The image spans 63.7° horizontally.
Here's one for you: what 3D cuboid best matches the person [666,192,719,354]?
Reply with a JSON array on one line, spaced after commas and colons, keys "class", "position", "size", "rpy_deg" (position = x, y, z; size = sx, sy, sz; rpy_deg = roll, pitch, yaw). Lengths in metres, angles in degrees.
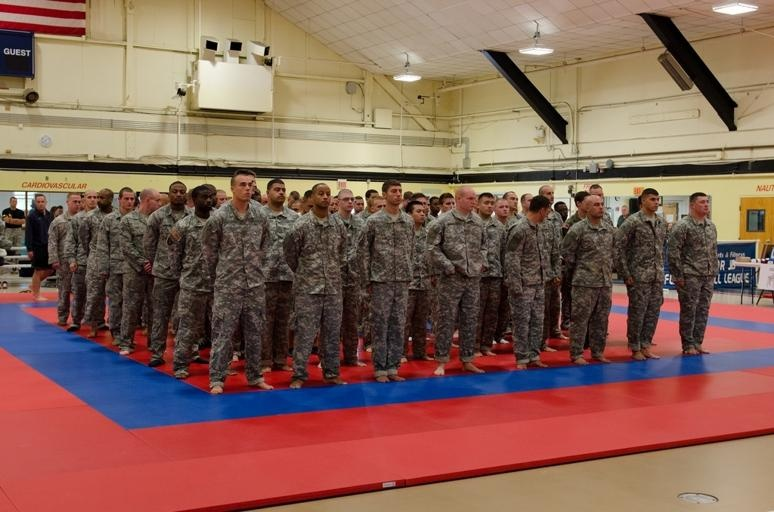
[{"class": "person", "position": [4.580, 0.261, 9.341], "size": [0.867, 2.396, 0.483], "rpy_deg": [-4, 8, -32]}]
